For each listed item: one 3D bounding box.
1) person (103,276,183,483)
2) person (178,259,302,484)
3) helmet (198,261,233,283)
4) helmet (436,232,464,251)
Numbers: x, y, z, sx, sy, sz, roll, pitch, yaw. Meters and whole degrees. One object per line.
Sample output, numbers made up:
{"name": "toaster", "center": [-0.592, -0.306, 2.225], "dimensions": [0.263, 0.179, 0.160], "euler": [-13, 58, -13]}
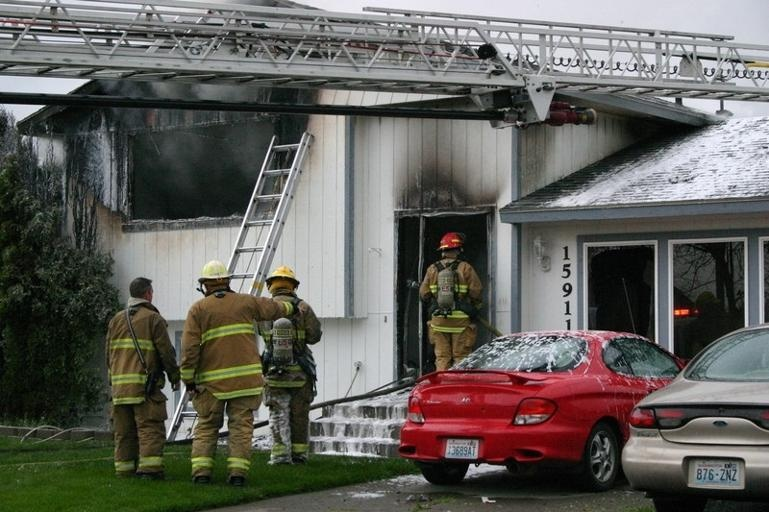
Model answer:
{"name": "person", "center": [-3.349, 1.662, 20.281], "dimensions": [0.999, 2.744, 0.395], "euler": [-2, -6, 18]}
{"name": "person", "center": [-2.217, 1.600, 20.038], "dimensions": [1.098, 3.024, 0.328], "euler": [1, -6, -5]}
{"name": "helmet", "center": [-2.412, 0.212, 20.390], "dimensions": [0.324, 0.216, 0.431], "euler": [0, -11, -21]}
{"name": "helmet", "center": [1.157, -0.250, 24.032], "dimensions": [0.392, 0.200, 0.269], "euler": [-21, 13, -36]}
